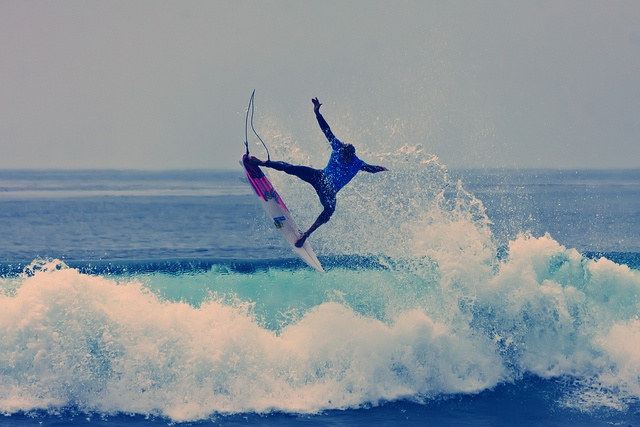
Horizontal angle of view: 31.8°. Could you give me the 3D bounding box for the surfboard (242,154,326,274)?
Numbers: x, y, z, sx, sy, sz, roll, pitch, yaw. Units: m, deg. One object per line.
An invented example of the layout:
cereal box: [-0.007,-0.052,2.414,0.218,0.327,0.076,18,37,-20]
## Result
surfboard: [-1.266,0.176,42.075,0.884,4.826,0.435,-35,2,-14]
